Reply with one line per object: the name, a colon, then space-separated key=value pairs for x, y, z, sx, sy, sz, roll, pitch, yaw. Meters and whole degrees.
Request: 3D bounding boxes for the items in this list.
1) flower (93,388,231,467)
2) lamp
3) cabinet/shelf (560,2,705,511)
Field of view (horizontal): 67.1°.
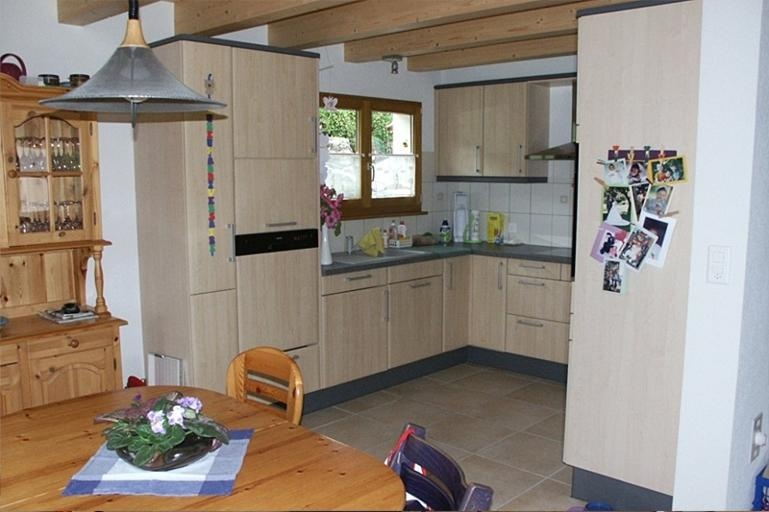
flower: x=-0.972 y=0.732 z=2.579 sx=0.385 sy=0.138 sz=0.368 roll=4 pitch=4 yaw=-13
lamp: x=-1.104 y=-0.827 z=2.458 sx=0.654 sy=0.575 sz=0.598 roll=-9 pitch=10 yaw=-33
cabinet/shelf: x=1.465 y=0.059 z=3.486 sx=0.691 sy=3.009 sz=0.302 roll=3 pitch=11 yaw=37
